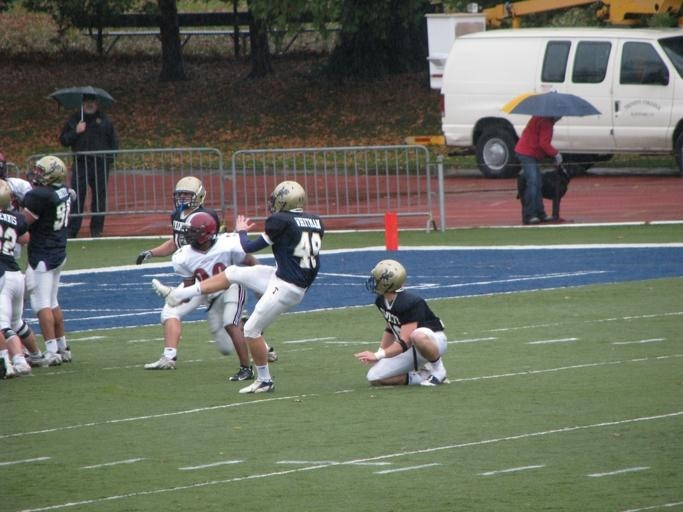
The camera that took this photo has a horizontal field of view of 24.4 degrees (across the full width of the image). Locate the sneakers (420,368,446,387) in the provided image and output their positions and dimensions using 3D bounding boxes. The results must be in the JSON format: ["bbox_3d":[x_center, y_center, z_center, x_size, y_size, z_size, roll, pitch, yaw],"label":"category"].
[{"bbox_3d":[1.117,1.493,19.337,0.408,0.149,0.133,-2,0,-22],"label":"sneakers"}]

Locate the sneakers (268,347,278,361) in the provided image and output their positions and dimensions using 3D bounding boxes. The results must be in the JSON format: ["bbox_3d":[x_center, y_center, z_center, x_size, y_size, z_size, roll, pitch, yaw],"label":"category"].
[{"bbox_3d":[-0.911,1.264,20.450,0.183,0.198,0.442,-2,-4,0],"label":"sneakers"}]

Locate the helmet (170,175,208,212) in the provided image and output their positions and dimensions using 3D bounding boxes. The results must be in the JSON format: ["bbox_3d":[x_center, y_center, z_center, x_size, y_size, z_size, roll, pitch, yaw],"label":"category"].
[{"bbox_3d":[-2.008,-0.816,20.502,0.383,0.383,0.478,1,2,31],"label":"helmet"}]

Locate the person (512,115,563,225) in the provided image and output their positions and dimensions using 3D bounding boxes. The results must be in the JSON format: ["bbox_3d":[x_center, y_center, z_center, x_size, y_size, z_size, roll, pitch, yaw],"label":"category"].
[{"bbox_3d":[3.475,-1.551,28.447,0.762,2.017,0.806,0,15,6],"label":"person"}]

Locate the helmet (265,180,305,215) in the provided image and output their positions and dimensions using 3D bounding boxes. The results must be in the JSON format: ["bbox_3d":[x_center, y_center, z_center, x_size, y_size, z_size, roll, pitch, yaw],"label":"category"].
[{"bbox_3d":[-0.685,-0.740,19.509,0.434,0.372,0.362,13,17,33],"label":"helmet"}]

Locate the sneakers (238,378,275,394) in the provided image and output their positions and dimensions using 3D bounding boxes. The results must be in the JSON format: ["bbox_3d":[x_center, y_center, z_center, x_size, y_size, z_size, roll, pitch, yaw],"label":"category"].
[{"bbox_3d":[-1.040,1.585,19.330,0.475,0.172,0.162,0,1,1],"label":"sneakers"}]

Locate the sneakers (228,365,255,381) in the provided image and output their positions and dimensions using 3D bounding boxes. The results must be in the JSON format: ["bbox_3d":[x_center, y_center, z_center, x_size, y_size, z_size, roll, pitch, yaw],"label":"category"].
[{"bbox_3d":[-1.249,1.470,19.774,0.378,0.147,0.130,-2,4,2],"label":"sneakers"}]

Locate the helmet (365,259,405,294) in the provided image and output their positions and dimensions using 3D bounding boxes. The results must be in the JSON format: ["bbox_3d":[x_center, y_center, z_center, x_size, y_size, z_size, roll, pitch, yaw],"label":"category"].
[{"bbox_3d":[0.536,0.228,19.195,0.495,0.359,0.337,4,23,16],"label":"helmet"}]

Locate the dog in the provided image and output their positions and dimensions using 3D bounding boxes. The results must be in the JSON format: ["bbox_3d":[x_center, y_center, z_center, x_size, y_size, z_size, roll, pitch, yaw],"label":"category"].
[{"bbox_3d":[3.867,-1.145,29.151,0.654,0.838,0.747,1,-10,-8],"label":"dog"}]

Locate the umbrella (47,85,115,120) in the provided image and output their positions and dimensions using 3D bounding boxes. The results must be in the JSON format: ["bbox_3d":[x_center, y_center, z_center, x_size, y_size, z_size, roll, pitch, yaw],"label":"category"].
[{"bbox_3d":[-4.743,-2.883,28.881,1.051,0.630,1.890,-4,14,-8],"label":"umbrella"}]

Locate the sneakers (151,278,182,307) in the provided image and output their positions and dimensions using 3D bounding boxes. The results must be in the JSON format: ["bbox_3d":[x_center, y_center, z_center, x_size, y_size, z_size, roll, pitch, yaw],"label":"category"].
[{"bbox_3d":[-2.375,0.498,21.241,0.490,0.165,0.222,39,57,15],"label":"sneakers"}]

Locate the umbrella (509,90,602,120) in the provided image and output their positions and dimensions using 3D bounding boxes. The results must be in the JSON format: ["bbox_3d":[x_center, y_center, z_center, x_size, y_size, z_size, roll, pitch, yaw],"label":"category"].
[{"bbox_3d":[3.770,-2.704,28.288,1.458,0.444,0.720,-7,15,-19],"label":"umbrella"}]

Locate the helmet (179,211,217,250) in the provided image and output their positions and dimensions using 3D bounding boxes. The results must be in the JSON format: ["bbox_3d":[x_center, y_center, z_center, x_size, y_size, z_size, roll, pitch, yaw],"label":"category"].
[{"bbox_3d":[-1.815,-0.318,19.947,0.477,0.415,0.381,-1,13,-4],"label":"helmet"}]

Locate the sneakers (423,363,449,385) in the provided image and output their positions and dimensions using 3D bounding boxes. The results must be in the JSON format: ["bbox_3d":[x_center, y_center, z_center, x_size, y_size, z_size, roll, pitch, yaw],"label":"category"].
[{"bbox_3d":[1.058,1.456,19.341,0.424,0.259,0.149,-1,-1,-8],"label":"sneakers"}]

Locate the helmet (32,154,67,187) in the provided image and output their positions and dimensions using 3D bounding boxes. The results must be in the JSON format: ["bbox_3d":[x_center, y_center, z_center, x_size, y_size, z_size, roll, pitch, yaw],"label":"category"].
[{"bbox_3d":[-3.836,-1.126,20.801,0.470,0.347,0.339,2,6,5],"label":"helmet"}]

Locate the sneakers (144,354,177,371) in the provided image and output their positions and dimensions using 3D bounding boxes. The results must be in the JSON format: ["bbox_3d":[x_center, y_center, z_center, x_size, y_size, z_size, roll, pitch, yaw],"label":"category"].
[{"bbox_3d":[-2.355,1.348,20.225,0.463,0.181,0.157,1,4,-2],"label":"sneakers"}]
